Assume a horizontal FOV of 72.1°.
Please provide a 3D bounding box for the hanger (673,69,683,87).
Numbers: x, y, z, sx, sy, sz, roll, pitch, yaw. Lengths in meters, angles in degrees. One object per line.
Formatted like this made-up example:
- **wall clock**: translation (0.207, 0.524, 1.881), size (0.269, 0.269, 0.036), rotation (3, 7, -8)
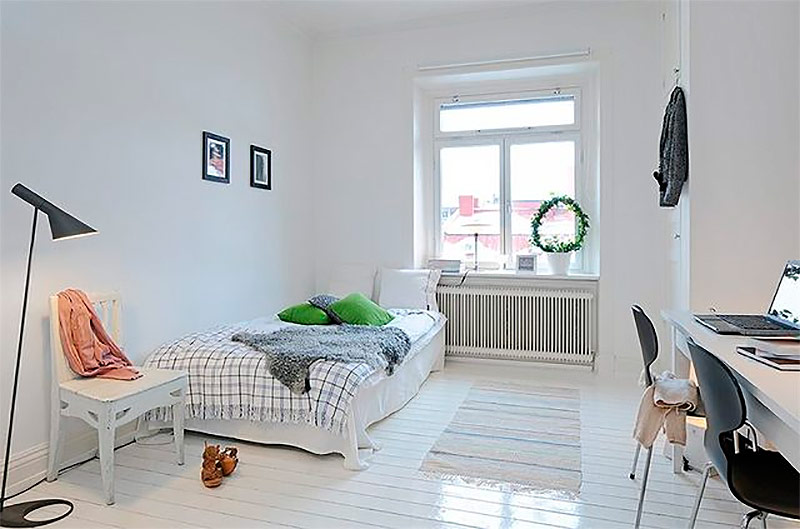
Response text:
- **hanger**: translation (2.223, -1.482, 4.384), size (0.037, 0.138, 0.097), rotation (1, 10, -11)

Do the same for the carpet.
- **carpet**: translation (0.928, 1.276, 4.447), size (1.061, 0.081, 2.028), rotation (-2, 7, 17)

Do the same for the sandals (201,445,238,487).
- **sandals**: translation (-1.229, 1.336, 3.754), size (0.225, 0.208, 0.351), rotation (-1, 5, -10)

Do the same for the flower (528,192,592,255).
- **flower**: translation (1.690, -0.417, 5.767), size (0.604, 0.602, 0.358), rotation (2, 6, 19)

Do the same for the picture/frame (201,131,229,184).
- **picture/frame**: translation (-1.674, -0.953, 4.921), size (0.035, 0.446, 0.508), rotation (-1, 1, 20)
